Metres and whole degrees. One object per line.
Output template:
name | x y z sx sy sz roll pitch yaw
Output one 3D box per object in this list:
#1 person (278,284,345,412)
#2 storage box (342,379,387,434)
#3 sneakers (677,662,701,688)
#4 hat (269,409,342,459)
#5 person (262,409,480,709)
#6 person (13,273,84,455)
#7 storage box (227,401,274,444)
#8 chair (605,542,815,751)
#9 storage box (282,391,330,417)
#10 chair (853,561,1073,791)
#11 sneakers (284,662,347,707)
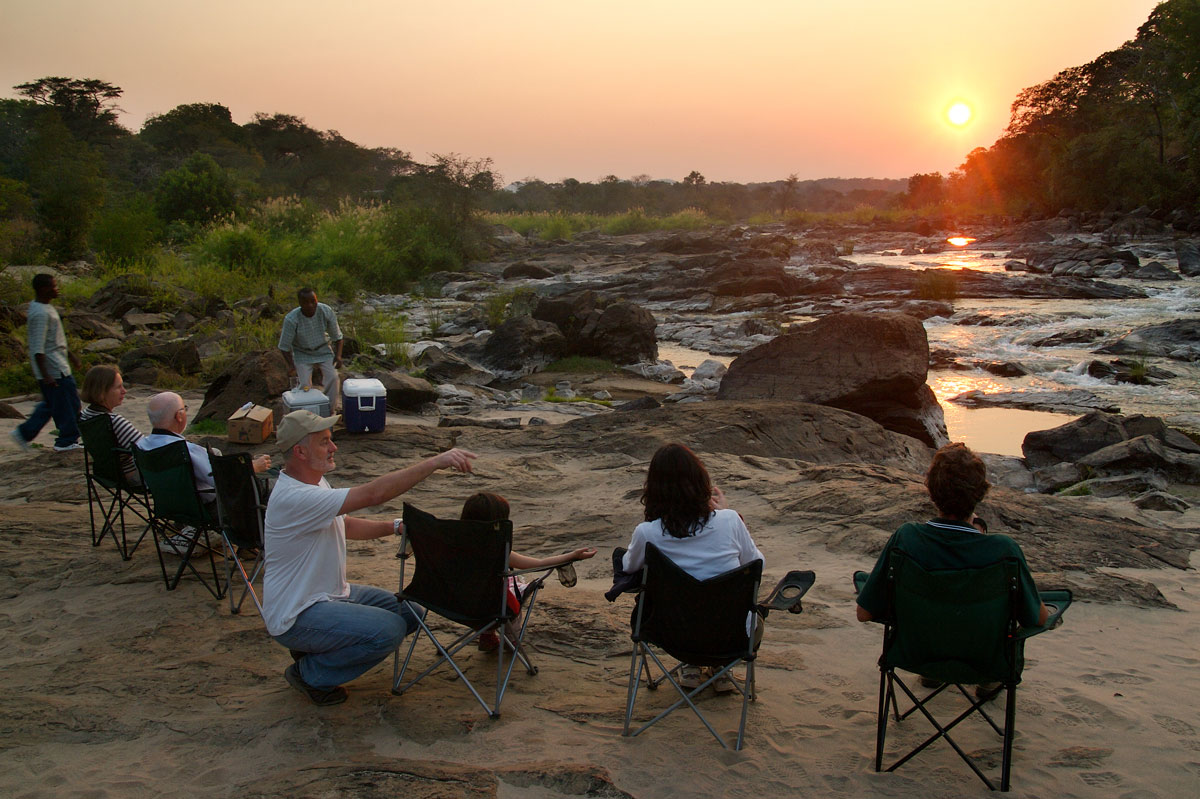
person | -3.884 -0.654 11.006 0.465 1.651 0.762 4 11 33
storage box | -3.002 0.101 10.313 0.610 0.467 0.784 0 7 -12
sneakers | 0.581 1.813 5.320 0.155 0.103 0.165 0 -1 6
hat | -1.823 0.193 5.013 0.480 0.165 0.270 -16 13 -19
person | -1.635 0.957 5.057 0.933 1.797 0.404 -5 10 -18
person | -6.515 -0.423 9.433 0.657 2.033 1.295 -8 10 -30
storage box | -4.303 0.312 10.042 0.626 0.319 0.637 -1 10 -4
chair | 0.654 1.405 4.937 1.172 1.137 0.777 -1 8 4
storage box | -3.425 0.027 9.456 0.832 0.344 0.495 0 3 -15
chair | 2.112 1.481 4.721 0.849 1.224 0.953 2 9 24
sneakers | -1.744 1.776 5.050 0.519 0.168 0.153 18 20 -5
